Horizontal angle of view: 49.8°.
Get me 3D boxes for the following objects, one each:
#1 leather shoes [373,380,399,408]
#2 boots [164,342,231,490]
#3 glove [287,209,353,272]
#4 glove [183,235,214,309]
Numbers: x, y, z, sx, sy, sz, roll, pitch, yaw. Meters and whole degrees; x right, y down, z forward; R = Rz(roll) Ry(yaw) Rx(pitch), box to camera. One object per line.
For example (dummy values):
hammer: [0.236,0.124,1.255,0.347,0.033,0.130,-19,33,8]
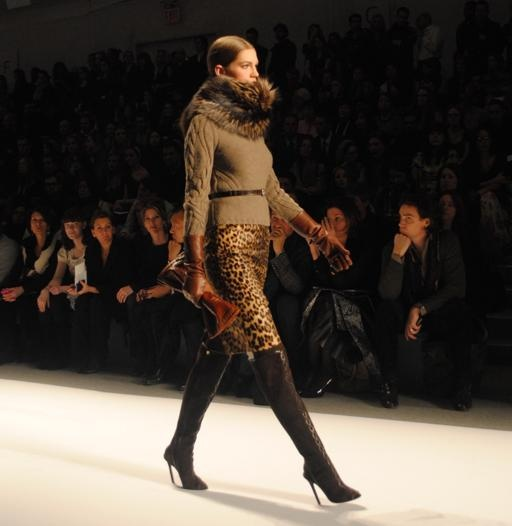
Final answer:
leather shoes: [0.658,0.662,2.775,0.105,0.114,0.106,-1,-1,20]
boots: [-0.196,0.458,1.682,0.165,0.430,0.279,-1,-1,-22]
glove: [0.204,-0.070,1.701,0.120,0.183,0.166,0,-1,-43]
glove: [-0.161,0.017,1.481,0.059,0.177,0.066,-1,-1,-23]
